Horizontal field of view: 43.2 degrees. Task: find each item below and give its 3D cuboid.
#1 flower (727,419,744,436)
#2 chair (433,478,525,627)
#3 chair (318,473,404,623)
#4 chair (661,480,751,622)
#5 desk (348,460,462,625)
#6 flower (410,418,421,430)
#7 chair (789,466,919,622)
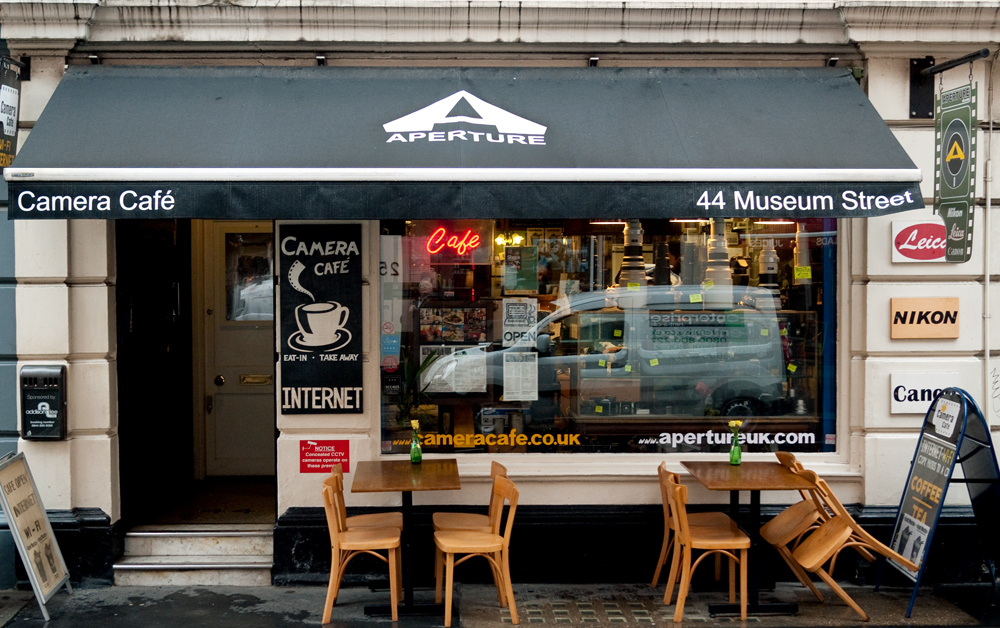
[{"bbox_3d":[2.771,1.343,14.732,0.203,0.230,0.191,-2,5,-15],"label":"flower"},{"bbox_3d":[-0.274,2.627,14.268,0.951,1.626,0.928,-4,3,-6],"label":"chair"},{"bbox_3d":[-1.558,2.607,14.158,0.946,1.617,0.944,-4,3,-6],"label":"chair"},{"bbox_3d":[2.337,2.611,14.301,0.938,1.577,1.023,-3,3,2],"label":"chair"},{"bbox_3d":[-1.053,2.535,14.411,2.068,1.903,1.433,0,-4,-4],"label":"desk"},{"bbox_3d":[-0.979,1.288,14.800,0.114,0.162,0.112,-3,6,-35],"label":"flower"},{"bbox_3d":[3.842,2.543,14.172,1.191,1.694,0.649,-4,3,-8],"label":"chair"}]
